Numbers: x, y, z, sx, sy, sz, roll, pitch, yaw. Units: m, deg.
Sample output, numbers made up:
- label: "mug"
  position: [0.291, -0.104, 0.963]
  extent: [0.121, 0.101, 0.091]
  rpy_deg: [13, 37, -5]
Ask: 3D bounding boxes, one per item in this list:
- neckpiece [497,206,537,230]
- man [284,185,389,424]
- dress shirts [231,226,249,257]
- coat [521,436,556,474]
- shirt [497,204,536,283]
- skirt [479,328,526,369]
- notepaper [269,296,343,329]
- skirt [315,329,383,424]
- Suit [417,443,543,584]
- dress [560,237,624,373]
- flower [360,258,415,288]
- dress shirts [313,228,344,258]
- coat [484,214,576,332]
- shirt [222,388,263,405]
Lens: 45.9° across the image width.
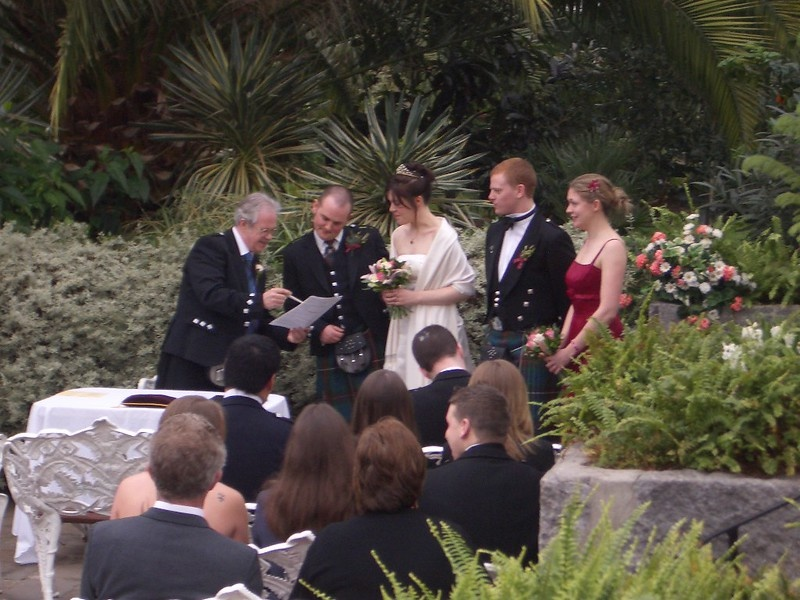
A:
- label: "neckpiece"
  position: [0.729, -0.518, 5.893]
  extent: [0.159, 0.069, 0.141]
  rpy_deg: [-22, 25, -27]
- label: "man"
  position: [-0.434, 0.209, 6.475]
  extent: [0.837, 1.843, 0.715]
  rpy_deg: [-5, 19, -10]
- label: "dress shirts"
  position: [-1.030, -0.379, 6.154]
  extent: [0.074, 0.167, 0.149]
  rpy_deg: [-32, 15, -3]
- label: "coat"
  position: [0.656, 0.734, 4.381]
  extent: [0.166, 0.134, 0.151]
  rpy_deg: [-3, -7, 30]
- label: "shirt"
  position: [0.703, -0.363, 5.895]
  extent: [0.120, 0.423, 0.276]
  rpy_deg: [9, 4, -36]
- label: "skirt"
  position: [0.662, 0.315, 5.921]
  extent: [0.287, 0.232, 0.161]
  rpy_deg: [-2, -7, 38]
- label: "notepaper"
  position: [-0.594, 0.080, 5.815]
  extent: [0.255, 0.218, 0.335]
  rpy_deg: [10, 10, 41]
- label: "skirt"
  position: [-0.379, 0.495, 6.342]
  extent: [0.120, 0.598, 0.478]
  rpy_deg: [-6, 19, -40]
- label: "Suit"
  position: [0.379, 0.805, 3.968]
  extent: [0.552, 0.393, 0.281]
  rpy_deg: [-4, 6, 12]
- label: "dress"
  position: [1.102, 0.043, 5.475]
  extent: [0.378, 0.815, 0.539]
  rpy_deg: [5, 9, 12]
- label: "flower"
  position: [-0.096, -0.174, 6.076]
  extent: [0.254, 0.154, 0.232]
  rpy_deg: [-12, 18, 3]
- label: "dress shirts"
  position: [-0.486, -0.374, 6.271]
  extent: [0.162, 0.185, 0.073]
  rpy_deg: [-1, -25, 1]
- label: "coat"
  position: [0.805, -0.146, 5.836]
  extent: [0.488, 0.673, 0.793]
  rpy_deg: [-2, 4, -36]
- label: "shirt"
  position: [-0.785, 0.510, 4.748]
  extent: [0.149, 0.053, 0.105]
  rpy_deg: [12, 14, -28]
